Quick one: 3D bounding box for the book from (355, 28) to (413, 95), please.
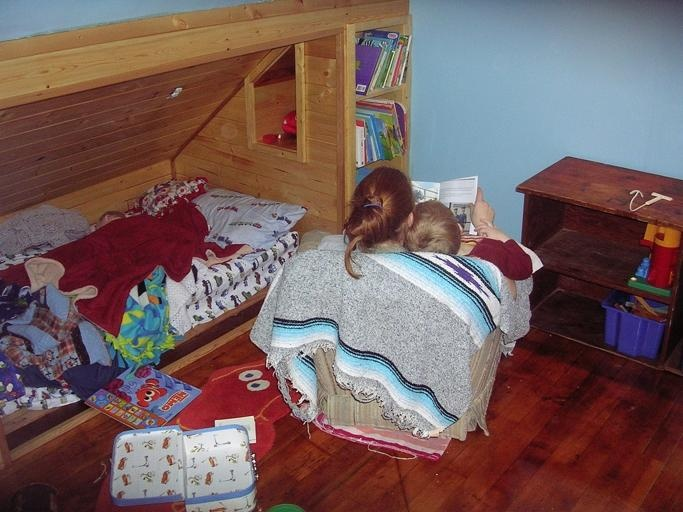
[{"bbox_3d":[0.235,-1.120,3.088,0.382,0.388,0.137,4,-4,11],"label":"book"}]

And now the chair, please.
[{"bbox_3d":[0.283,0.320,2.338,1.088,0.587,0.978,9,22,22],"label":"chair"}]

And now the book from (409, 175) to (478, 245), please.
[{"bbox_3d":[0.453,-0.189,2.340,0.407,0.263,0.038,5,24,27],"label":"book"}]

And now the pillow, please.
[{"bbox_3d":[-0.574,-0.219,3.231,0.645,0.138,0.395,12,39,34],"label":"pillow"}]

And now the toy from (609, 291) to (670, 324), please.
[{"bbox_3d":[1.544,0.259,2.778,0.136,0.070,0.200,-22,29,-39],"label":"toy"}]
